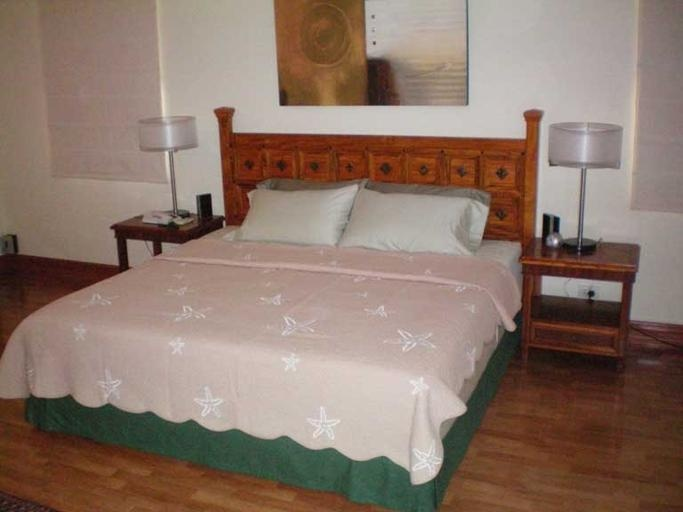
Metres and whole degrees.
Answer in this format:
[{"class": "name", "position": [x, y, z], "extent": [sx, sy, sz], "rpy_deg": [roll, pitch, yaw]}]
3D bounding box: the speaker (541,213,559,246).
[{"class": "speaker", "position": [1.508, -0.189, 3.927], "extent": [0.097, 0.276, 0.187], "rpy_deg": [0, 15, 7]}]

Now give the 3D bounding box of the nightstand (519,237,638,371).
[{"class": "nightstand", "position": [1.725, 0.325, 3.972], "extent": [0.733, 0.879, 0.535], "rpy_deg": [4, 22, 29]}]

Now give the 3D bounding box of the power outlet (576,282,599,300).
[{"class": "power outlet", "position": [1.879, 0.261, 4.158], "extent": [0.140, 0.138, 0.033], "rpy_deg": [-2, -1, 39]}]

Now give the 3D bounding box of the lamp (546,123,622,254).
[{"class": "lamp", "position": [1.687, -0.501, 3.840], "extent": [0.463, 0.878, 0.465], "rpy_deg": [4, 15, 22]}]
